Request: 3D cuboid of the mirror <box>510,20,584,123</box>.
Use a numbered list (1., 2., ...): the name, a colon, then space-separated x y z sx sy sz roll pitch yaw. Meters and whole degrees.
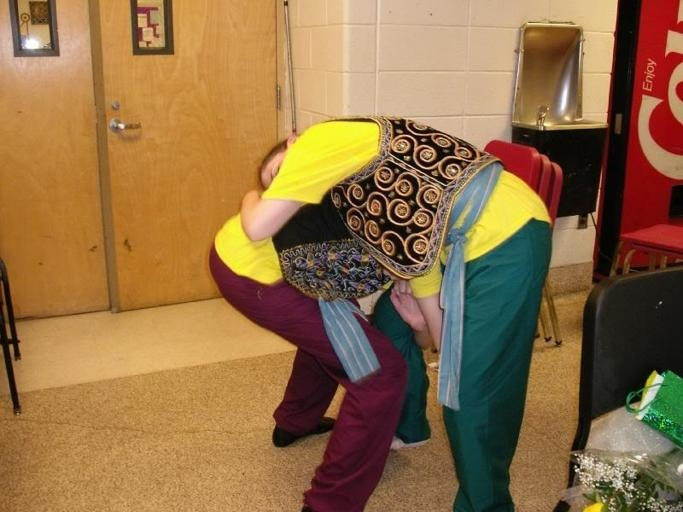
1. mirror: 1.230 -1.137 3.360 0.526 0.646 0.244 -5 24 -11
